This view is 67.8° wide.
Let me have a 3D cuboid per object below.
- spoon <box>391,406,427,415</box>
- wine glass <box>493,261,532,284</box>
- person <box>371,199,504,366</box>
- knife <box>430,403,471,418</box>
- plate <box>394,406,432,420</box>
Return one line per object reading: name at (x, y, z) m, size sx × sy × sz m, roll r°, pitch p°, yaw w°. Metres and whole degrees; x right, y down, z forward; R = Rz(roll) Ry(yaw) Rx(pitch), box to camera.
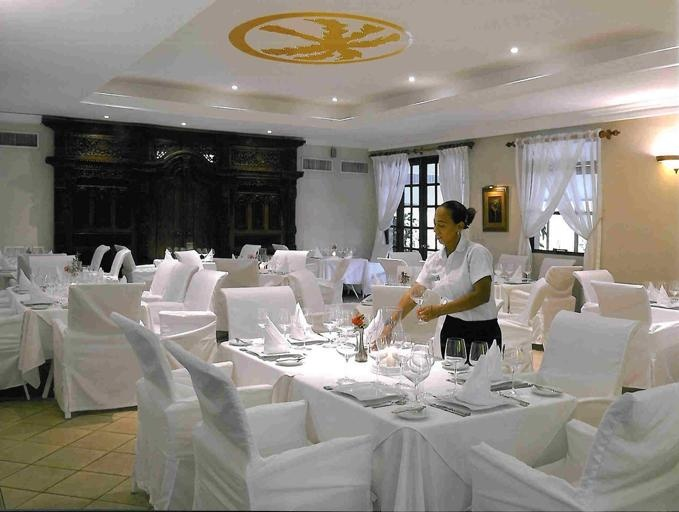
spoon at (0.351, 0.756, 2.485) m, size 0.066 × 0.017 × 0.078 m, roll -3°, pitch -4°, yaw -20°
wine glass at (2.896, 0.270, 8.326) m, size 0.305 × 0.396 × 0.265 m, roll 19°, pitch -15°, yaw -42°
person at (0.706, 0.449, 3.587) m, size 0.881 × 1.628 × 0.549 m, roll -5°, pitch 0°, yaw -7°
knife at (0.564, 0.766, 2.510) m, size 0.023 × 0.021 × 0.156 m, roll -18°, pitch 10°, yaw -30°
plate at (0.358, 0.764, 2.469) m, size 0.175 × 0.035 × 0.150 m, roll -5°, pitch 9°, yaw 4°
